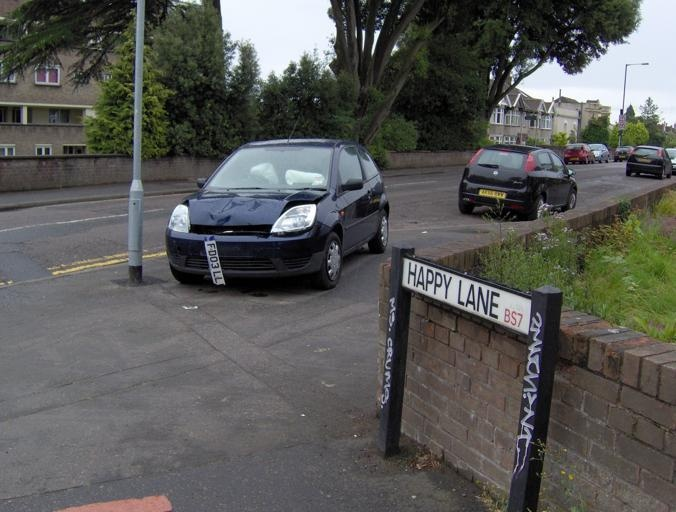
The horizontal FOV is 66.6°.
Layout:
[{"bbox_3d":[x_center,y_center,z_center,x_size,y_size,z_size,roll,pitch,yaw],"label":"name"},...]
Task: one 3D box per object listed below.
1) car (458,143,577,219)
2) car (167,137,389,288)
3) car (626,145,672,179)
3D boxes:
[{"bbox_3d":[5.746,-2.201,15.255,5.119,2.114,2.949,-6,13,-25],"label":"car"},{"bbox_3d":[-0.801,-0.801,8.631,2.176,2.245,3.856,9,15,38],"label":"car"},{"bbox_3d":[21.185,-6.380,35.162,3.815,2.146,1.866,-7,13,-31],"label":"car"}]
